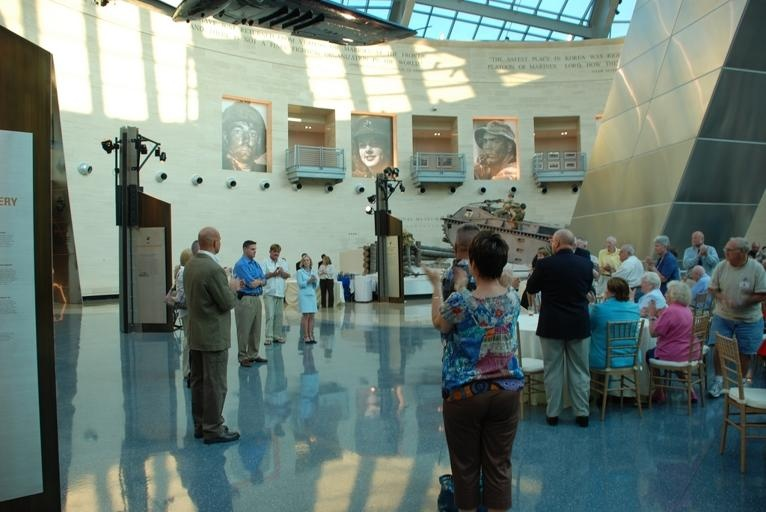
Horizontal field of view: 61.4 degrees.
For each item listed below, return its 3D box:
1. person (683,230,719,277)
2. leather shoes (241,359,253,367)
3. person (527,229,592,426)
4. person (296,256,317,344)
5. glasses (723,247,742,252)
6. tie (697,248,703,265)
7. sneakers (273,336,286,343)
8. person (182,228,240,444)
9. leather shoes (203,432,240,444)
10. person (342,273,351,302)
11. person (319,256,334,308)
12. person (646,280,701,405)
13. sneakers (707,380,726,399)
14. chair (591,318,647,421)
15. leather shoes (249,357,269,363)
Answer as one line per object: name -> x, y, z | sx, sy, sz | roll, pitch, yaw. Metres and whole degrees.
person -> 5.405, 0.075, 10.909 | 0.595, 0.895, 0.549 | -3, -3, 24
leather shoes -> -2.130, 1.680, 10.066 | 0.190, 0.082, 0.082 | -1, 8, 13
person -> 2.112, 0.853, 7.627 | 0.740, 2.324, 0.393 | 0, 1, 11
person -> -1.395, 0.786, 11.911 | 0.321, 1.626, 1.097 | -1, 1, -6
glasses -> 4.464, -0.081, 8.208 | 0.076, 0.067, 0.209 | -1, 0, -28
tie -> 5.278, 0.008, 10.674 | 0.072, 0.263, 0.384 | 0, 1, 25
sneakers -> -1.896, 1.563, 11.864 | 0.213, 0.092, 0.080 | -3, -2, 35
person -> -1.952, 0.897, 7.346 | 0.572, 2.448, 0.273 | -1, 1, -13
leather shoes -> -1.848, 2.071, 7.373 | 0.402, 0.162, 0.149 | -2, 0, -18
person -> -1.129, 1.068, 20.741 | 0.310, 0.762, 0.831 | -1, 1, -3
person -> -1.608, 0.721, 18.364 | 0.425, 1.483, 0.602 | -1, 1, -6
person -> 3.714, 0.845, 8.169 | 0.639, 1.048, 0.385 | 0, 1, 22
sneakers -> 4.365, 1.771, 8.413 | 0.116, 0.135, 0.292 | -5, -10, 41
chair -> 2.941, 1.380, 8.047 | 0.616, 1.190, 0.920 | 0, 1, 20
leather shoes -> -1.971, 1.646, 10.256 | 0.271, 0.125, 0.098 | 0, 0, -14
